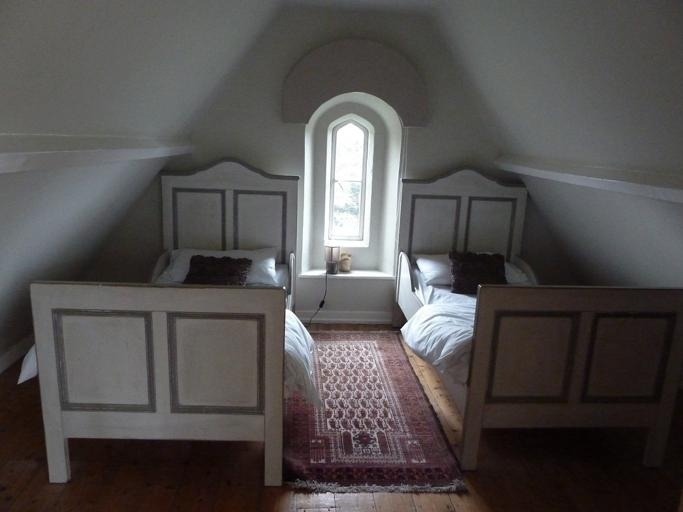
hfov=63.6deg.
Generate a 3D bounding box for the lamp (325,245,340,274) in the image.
[{"bbox_3d":[-0.081,0.039,5.695,0.160,0.275,0.271,1,8,0],"label":"lamp"}]

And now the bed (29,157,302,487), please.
[{"bbox_3d":[-1.120,0.270,4.531,1.501,1.752,2.811,1,16,-6],"label":"bed"}]
